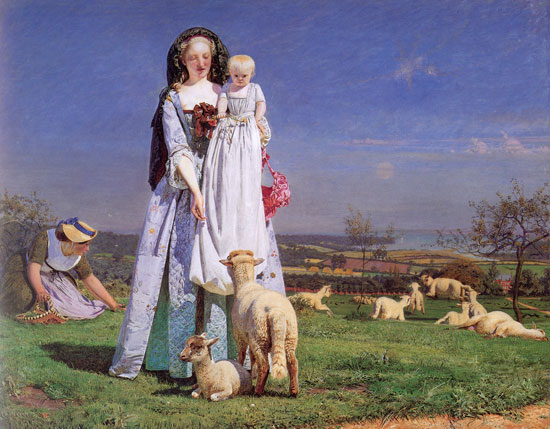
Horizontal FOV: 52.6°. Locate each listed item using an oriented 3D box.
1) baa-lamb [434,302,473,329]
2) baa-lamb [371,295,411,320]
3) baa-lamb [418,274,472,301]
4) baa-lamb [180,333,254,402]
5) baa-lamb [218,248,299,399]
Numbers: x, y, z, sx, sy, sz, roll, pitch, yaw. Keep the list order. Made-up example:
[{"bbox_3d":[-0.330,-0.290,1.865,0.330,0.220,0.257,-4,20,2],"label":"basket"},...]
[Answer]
[{"bbox_3d":[2.216,1.302,7.131,0.561,0.282,0.201,-12,-10,11],"label":"baa-lamb"},{"bbox_3d":[1.573,1.248,7.546,0.508,0.290,0.273,6,13,10],"label":"baa-lamb"},{"bbox_3d":[2.244,0.979,7.463,0.679,0.266,0.210,13,16,36],"label":"baa-lamb"},{"bbox_3d":[-0.536,1.456,5.187,0.395,0.596,0.872,-20,-28,40],"label":"baa-lamb"},{"bbox_3d":[-0.372,0.975,5.195,0.492,1.106,1.745,-1,13,-19],"label":"baa-lamb"}]
